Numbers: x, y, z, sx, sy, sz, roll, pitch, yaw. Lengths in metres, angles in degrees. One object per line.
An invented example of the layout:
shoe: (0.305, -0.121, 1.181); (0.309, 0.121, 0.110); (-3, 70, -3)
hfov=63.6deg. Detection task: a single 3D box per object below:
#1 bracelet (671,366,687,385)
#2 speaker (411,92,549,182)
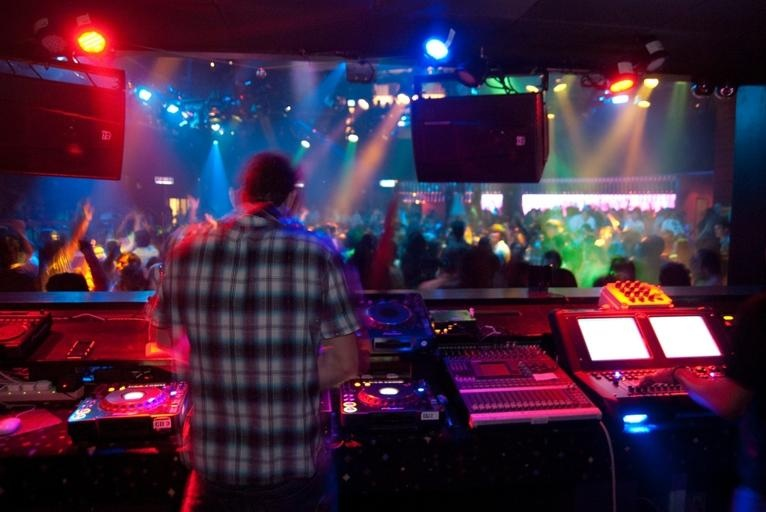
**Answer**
bracelet: (1.716, 0.701, 3.624); (0.063, 0.104, 0.100); (-2, -14, 16)
speaker: (0.704, -0.794, 4.534); (0.746, 0.454, 0.740); (0, 8, 8)
